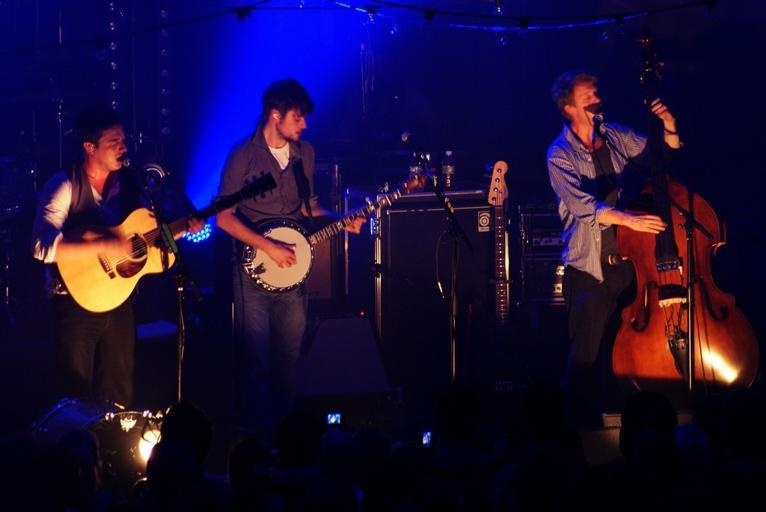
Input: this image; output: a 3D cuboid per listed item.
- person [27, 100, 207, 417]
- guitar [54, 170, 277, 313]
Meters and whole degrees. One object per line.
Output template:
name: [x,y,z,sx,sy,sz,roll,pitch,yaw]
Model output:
person: [-2.560,0.013,6.803,0.936,2.635,0.504,2,-6,-19]
guitar: [-1.956,-0.189,6.995,2.256,0.882,0.251,-30,9,-18]
